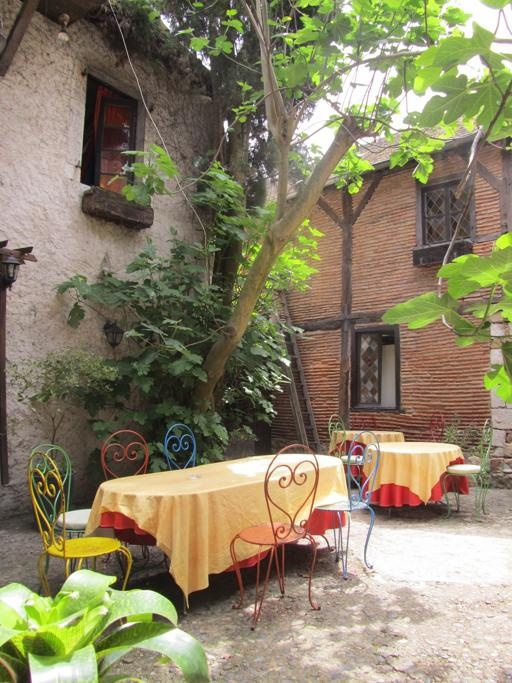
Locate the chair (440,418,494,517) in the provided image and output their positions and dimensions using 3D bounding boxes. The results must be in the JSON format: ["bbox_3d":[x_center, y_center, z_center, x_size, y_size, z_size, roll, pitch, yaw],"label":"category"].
[{"bbox_3d":[2.335,1.392,6.457,0.533,0.845,0.378,-6,-8,23],"label":"chair"}]

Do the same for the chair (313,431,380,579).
[{"bbox_3d":[0.746,1.345,4.874,0.544,1.011,0.496,3,-15,3],"label":"chair"}]

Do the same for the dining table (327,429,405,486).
[{"bbox_3d":[1.384,1.506,7.827,0.980,0.325,0.968,-2,-3,25],"label":"dining table"}]

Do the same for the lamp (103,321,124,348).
[{"bbox_3d":[-1.700,-0.076,6.982,0.234,0.332,0.383,2,-5,-14],"label":"lamp"}]

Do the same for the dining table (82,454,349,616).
[{"bbox_3d":[-0.207,1.319,4.238,1.044,0.798,2.056,-3,-6,37],"label":"dining table"}]

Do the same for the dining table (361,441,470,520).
[{"bbox_3d":[1.784,1.453,6.346,1.052,0.478,0.959,10,-14,-42],"label":"dining table"}]

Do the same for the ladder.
[{"bbox_3d":[0.769,0.477,10.672,0.824,2.958,1.308,1,-4,2],"label":"ladder"}]
